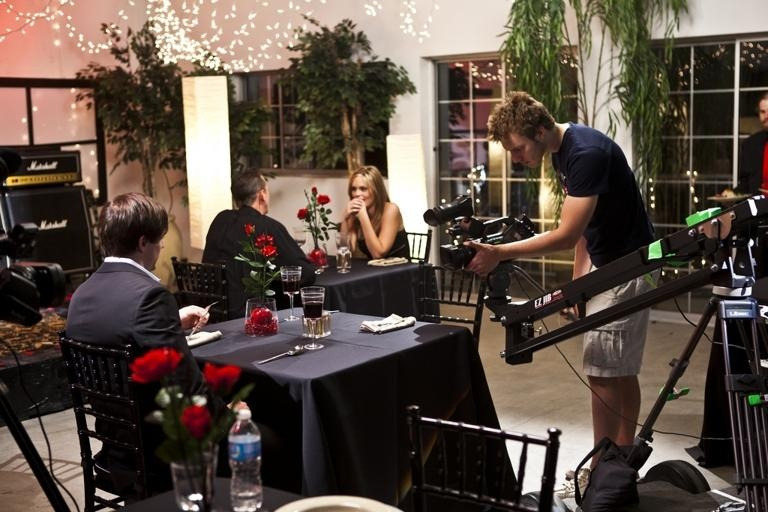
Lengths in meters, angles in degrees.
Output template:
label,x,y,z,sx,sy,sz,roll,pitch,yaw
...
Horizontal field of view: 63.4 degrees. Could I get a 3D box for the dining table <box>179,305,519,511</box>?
label,x,y,z,sx,sy,sz,roll,pitch,yaw
dining table,-0.064,0.650,3.008,0.982,0.559,1.016,1,2,34

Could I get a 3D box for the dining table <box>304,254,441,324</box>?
label,x,y,z,sx,sy,sz,roll,pitch,yaw
dining table,-0.033,0.249,4.639,0.507,0.320,0.621,0,3,41

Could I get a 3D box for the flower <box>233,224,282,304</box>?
label,x,y,z,sx,sy,sz,roll,pitch,yaw
flower,-0.676,0.083,3.376,0.225,0.461,0.237,7,18,19

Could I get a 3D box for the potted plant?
label,x,y,z,sx,sy,sz,roll,pitch,yaw
potted plant,-2.318,-1.394,8.319,2.700,3.000,1.921,-7,11,-37

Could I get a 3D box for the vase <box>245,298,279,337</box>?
label,x,y,z,sx,sy,sz,roll,pitch,yaw
vase,-0.618,0.318,3.307,0.179,0.186,0.188,0,4,17

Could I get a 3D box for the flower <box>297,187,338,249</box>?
label,x,y,z,sx,sy,sz,roll,pitch,yaw
flower,-0.572,-0.249,5.216,0.379,0.614,0.300,5,4,-26

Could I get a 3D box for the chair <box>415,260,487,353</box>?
label,x,y,z,sx,sy,sz,roll,pitch,yaw
chair,0.518,0.252,4.753,0.492,0.812,0.530,10,-32,-11

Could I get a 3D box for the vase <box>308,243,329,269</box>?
label,x,y,z,sx,sy,sz,roll,pitch,yaw
vase,-0.507,0.005,4.962,0.163,0.182,0.167,-9,10,-13
